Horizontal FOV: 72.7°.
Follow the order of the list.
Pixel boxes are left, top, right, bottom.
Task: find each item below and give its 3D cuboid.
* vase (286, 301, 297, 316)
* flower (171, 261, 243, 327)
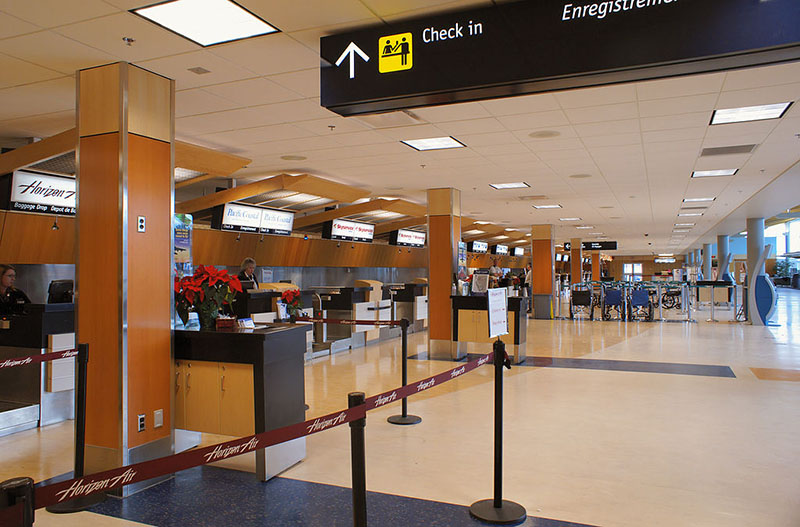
[{"bbox_3d":[-1.823,0.758,9.203,0.168,0.194,0.373,-1,-2,-11],"label":"vase"},{"bbox_3d":[-2.279,0.395,6.403,0.848,0.672,0.780,-12,-1,24],"label":"flower"}]
